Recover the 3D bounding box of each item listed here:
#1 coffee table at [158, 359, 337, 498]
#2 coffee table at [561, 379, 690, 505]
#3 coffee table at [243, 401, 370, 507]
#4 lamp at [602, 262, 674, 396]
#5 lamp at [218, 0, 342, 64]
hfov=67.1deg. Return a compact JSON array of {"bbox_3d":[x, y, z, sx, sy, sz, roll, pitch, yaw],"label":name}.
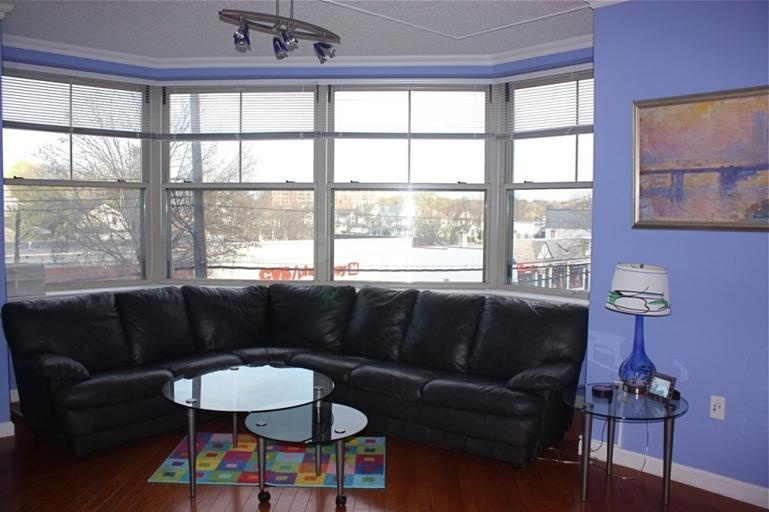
[{"bbox_3d":[-1.058,1.121,4.271,1.004,0.577,0.974,3,4,26],"label":"coffee table"},{"bbox_3d":[1.694,1.336,4.177,0.766,0.789,0.687,6,11,26],"label":"coffee table"},{"bbox_3d":[-0.555,1.421,4.152,0.825,0.582,0.571,-2,10,-14],"label":"coffee table"},{"bbox_3d":[1.816,0.503,4.218,0.406,0.876,0.391,5,12,22],"label":"lamp"},{"bbox_3d":[-0.827,-1.807,4.616,0.751,0.596,0.247,8,-33,-21],"label":"lamp"}]
